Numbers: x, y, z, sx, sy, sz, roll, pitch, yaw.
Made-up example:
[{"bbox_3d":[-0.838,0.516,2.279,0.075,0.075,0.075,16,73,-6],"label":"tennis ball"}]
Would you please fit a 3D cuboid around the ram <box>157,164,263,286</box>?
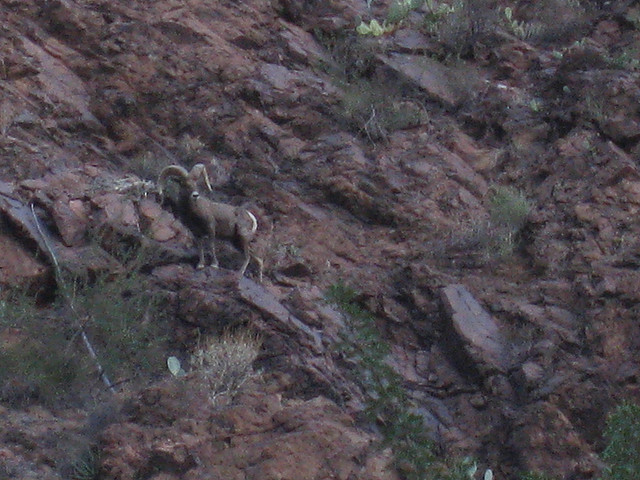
[{"bbox_3d":[-1.754,-0.396,23.344,1.607,1.041,1.153,17,34,-2],"label":"ram"}]
